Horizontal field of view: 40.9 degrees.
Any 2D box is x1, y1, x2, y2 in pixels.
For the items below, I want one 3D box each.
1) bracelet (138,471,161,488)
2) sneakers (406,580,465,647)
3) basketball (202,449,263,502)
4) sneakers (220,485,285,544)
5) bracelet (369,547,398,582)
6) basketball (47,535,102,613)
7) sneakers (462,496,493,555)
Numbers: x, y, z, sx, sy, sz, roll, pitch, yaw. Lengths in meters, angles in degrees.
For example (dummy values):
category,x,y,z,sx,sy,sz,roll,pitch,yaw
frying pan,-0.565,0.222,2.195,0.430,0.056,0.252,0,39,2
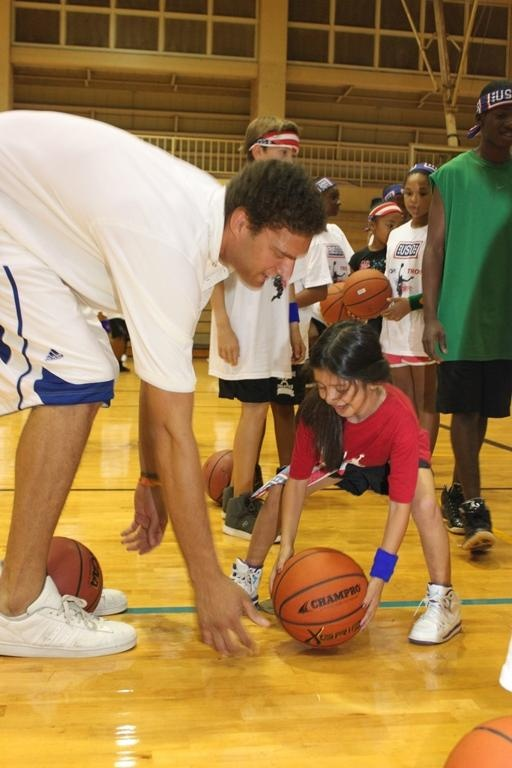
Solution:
category,x,y,z,sx,sy,sz,roll,pitch,yaw
bracelet,-0.262,0.234,1.674,0.058,0.060,0.018,4,49,8
sneakers,0.460,0.594,1.744,0.076,0.095,0.220,-6,-4,25
basketball,-0.083,0.392,3.109,0.239,0.269,0.239,-4,12,-2
sneakers,0.018,0.516,2.679,0.360,0.197,0.143,2,9,2
bracelet,0.313,0.441,1.696,0.081,0.077,0.026,24,-5,-4
basketball,-0.469,0.470,1.752,0.150,0.155,0.130,4,5,-33
sneakers,0.804,0.517,2.490,0.108,0.123,0.153,3,2,13
